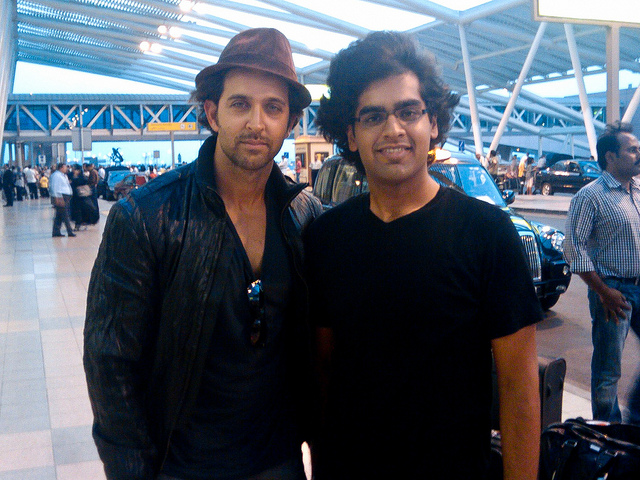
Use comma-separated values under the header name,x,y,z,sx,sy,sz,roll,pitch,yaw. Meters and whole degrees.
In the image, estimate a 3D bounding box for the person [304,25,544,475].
name,x,y,z,sx,sy,sz,roll,pitch,yaw
person,0.451,0.082,2.385,1.059,2.091,0.638,2,7,17

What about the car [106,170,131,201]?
name,x,y,z,sx,sy,sz,roll,pitch,yaw
car,-14.898,-3.893,38.365,1.539,1.457,2.673,-2,14,-15

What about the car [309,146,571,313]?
name,x,y,z,sx,sy,sz,roll,pitch,yaw
car,1.639,-0.150,8.360,2.331,1.918,4.057,-6,9,-41

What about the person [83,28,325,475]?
name,x,y,z,sx,sy,sz,roll,pitch,yaw
person,-0.508,0.092,2.328,1.014,2.044,0.414,-4,7,-26
